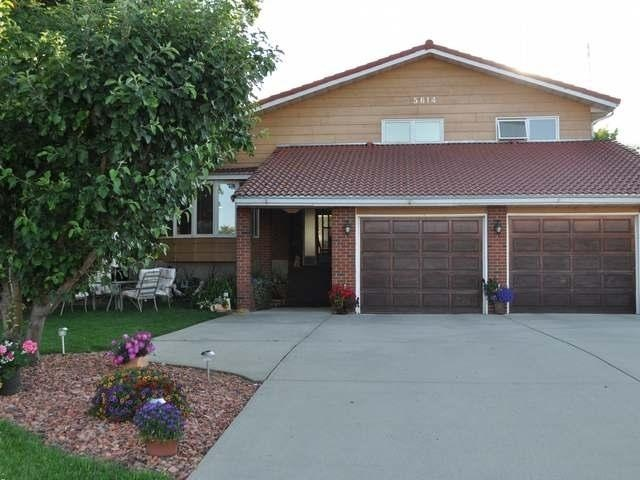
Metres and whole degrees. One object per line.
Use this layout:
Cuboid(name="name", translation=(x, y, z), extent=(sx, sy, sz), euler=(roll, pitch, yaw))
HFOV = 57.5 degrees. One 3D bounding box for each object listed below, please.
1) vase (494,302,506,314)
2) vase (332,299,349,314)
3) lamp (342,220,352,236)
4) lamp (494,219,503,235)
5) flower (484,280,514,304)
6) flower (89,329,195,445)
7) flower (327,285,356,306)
Cuboid(name="vase", translation=(4.729, 1.795, 15.300), extent=(0.318, 0.349, 0.278), euler=(-1, -7, 15))
Cuboid(name="vase", translation=(0.570, 1.774, 15.568), extent=(0.359, 0.218, 0.441), euler=(0, -3, -4))
Cuboid(name="lamp", translation=(0.725, -0.299, 15.625), extent=(0.253, 0.416, 0.161), euler=(0, 8, -1))
Cuboid(name="lamp", translation=(4.707, -0.313, 15.381), extent=(0.199, 0.377, 0.247), euler=(7, 10, 43))
Cuboid(name="flower", translation=(4.688, 1.370, 15.311), extent=(0.669, 0.428, 0.632), euler=(2, 2, -5))
Cuboid(name="flower", translation=(-2.159, 1.962, 7.090), extent=(1.017, 0.651, 1.334), euler=(9, 21, -29))
Cuboid(name="flower", translation=(0.609, 1.483, 15.507), extent=(0.681, 0.438, 0.546), euler=(2, -4, -19))
